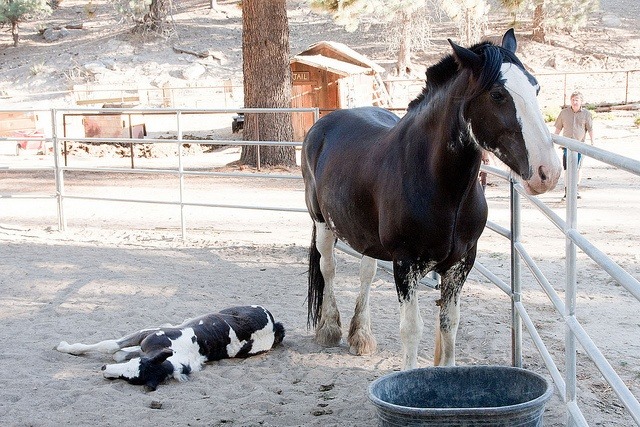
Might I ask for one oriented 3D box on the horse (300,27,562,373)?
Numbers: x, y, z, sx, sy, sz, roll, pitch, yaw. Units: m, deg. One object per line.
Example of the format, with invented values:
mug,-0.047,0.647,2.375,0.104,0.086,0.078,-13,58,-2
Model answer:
horse,0.947,0.005,7.021,0.970,3.222,2.762,-9,14,-34
